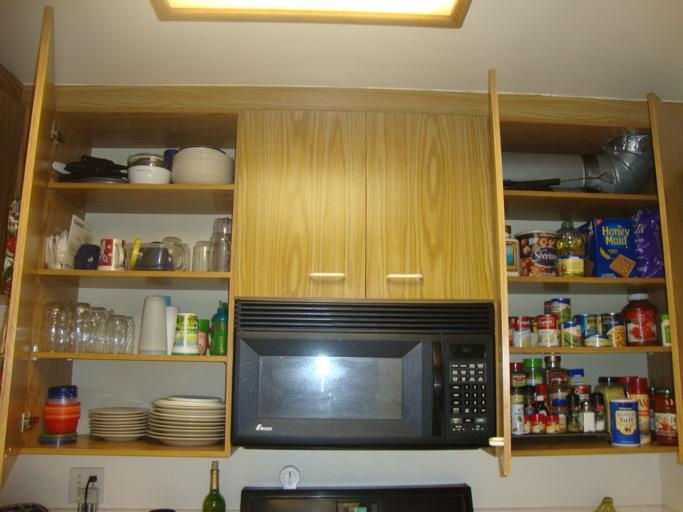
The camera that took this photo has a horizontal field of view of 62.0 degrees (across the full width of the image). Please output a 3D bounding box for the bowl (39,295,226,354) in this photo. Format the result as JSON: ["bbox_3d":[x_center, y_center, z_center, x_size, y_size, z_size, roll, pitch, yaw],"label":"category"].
[{"bbox_3d":[-0.801,0.272,2.253,0.691,0.233,0.164,2,-15,-6],"label":"bowl"}]

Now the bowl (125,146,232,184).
[{"bbox_3d":[-0.644,-0.324,2.247,0.310,0.105,0.191,-2,-6,8],"label":"bowl"}]

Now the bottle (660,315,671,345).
[{"bbox_3d":[1.266,0.284,2.214,0.036,0.128,0.128,-8,-17,27],"label":"bottle"}]

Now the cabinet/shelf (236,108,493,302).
[{"bbox_3d":[0.035,-0.240,2.346,1.073,0.711,0.372,-2,8,-17],"label":"cabinet/shelf"}]

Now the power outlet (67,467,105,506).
[{"bbox_3d":[-1.049,0.915,2.327,0.160,0.142,0.036,2,-4,-3],"label":"power outlet"}]
